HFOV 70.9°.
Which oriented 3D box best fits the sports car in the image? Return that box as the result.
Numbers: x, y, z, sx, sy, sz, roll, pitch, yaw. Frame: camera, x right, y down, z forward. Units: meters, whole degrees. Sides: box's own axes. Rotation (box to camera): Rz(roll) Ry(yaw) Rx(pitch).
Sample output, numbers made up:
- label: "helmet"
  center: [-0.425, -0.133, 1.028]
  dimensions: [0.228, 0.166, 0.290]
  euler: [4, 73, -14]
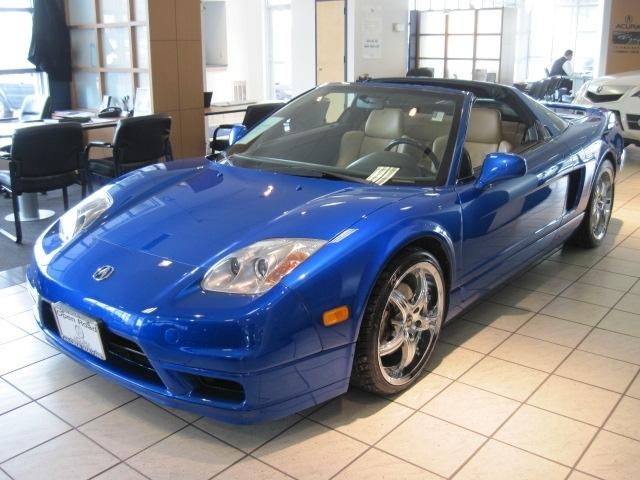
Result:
- label: "sports car"
  center: [0.422, -0.111, 2.604]
  dimensions: [3.329, 0.917, 1.567]
  euler: [-19, 29, -35]

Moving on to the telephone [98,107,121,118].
- label: "telephone"
  center: [-2.965, -1.771, 6.311]
  dimensions: [0.261, 0.088, 0.198]
  euler: [-18, 23, -41]
